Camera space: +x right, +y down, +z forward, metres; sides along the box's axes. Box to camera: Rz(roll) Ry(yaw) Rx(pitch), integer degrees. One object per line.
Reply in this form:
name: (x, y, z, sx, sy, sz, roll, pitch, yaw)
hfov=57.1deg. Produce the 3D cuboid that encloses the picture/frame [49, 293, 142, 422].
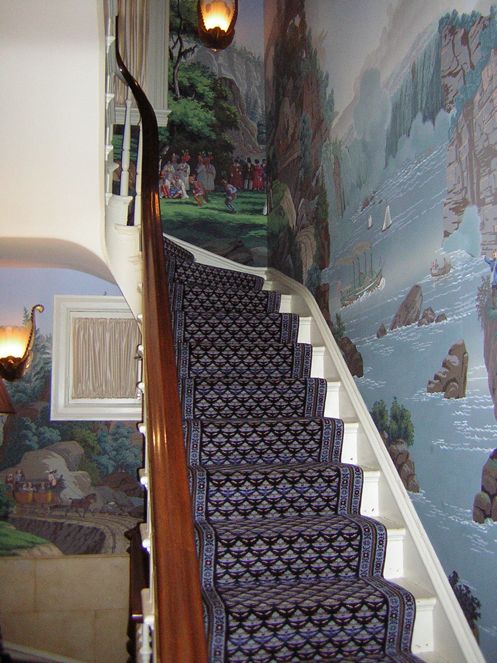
picture/frame: (-1.585, 0.284, 4.592, 1.226, 1.444, 0.113, 1, -3, -12)
